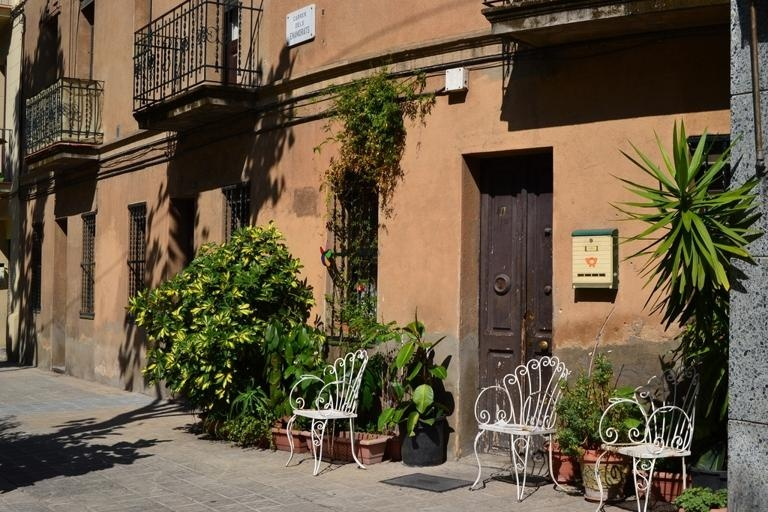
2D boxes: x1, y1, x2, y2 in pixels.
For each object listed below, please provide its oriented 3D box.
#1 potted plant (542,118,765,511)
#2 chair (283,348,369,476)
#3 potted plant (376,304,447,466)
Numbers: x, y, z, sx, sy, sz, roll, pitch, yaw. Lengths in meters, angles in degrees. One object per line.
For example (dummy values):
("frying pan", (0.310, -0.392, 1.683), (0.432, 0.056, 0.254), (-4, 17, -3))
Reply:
("potted plant", (3.402, 0.373, 10.421), (1.149, 4.246, 2.144), (2, -10, -10))
("chair", (-0.667, 2.074, 12.839), (1.236, 2.089, 1.369), (5, -7, -35))
("potted plant", (0.429, 1.769, 12.571), (0.971, 2.026, 0.928), (-1, -9, 9))
